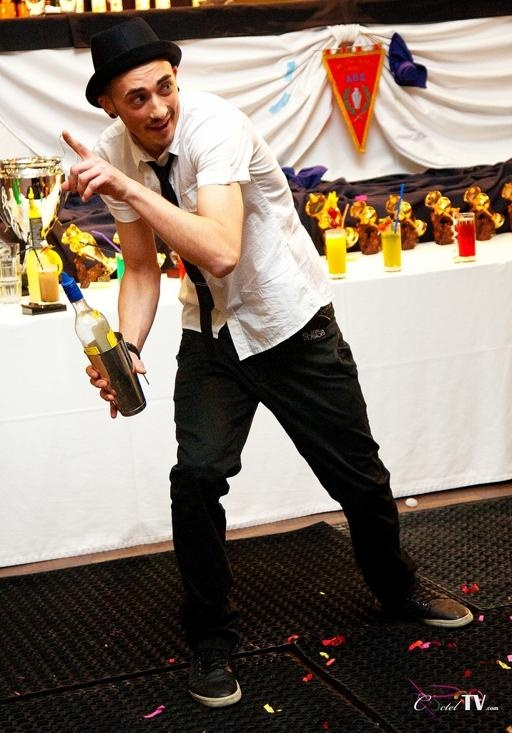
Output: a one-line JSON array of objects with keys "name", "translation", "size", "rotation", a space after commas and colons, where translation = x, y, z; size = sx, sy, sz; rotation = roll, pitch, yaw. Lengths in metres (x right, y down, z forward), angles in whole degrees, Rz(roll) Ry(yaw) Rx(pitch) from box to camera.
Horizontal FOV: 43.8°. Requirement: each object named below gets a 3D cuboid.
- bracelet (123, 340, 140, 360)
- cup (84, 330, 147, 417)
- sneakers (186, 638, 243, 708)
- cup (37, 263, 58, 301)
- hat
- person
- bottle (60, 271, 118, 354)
[{"name": "bracelet", "translation": [-0.220, -0.028, 1.136], "size": [0.018, 0.032, 0.024], "rotation": [-47, 22, -26]}, {"name": "cup", "translation": [-0.232, 0.017, 1.045], "size": [0.060, 0.142, 0.105], "rotation": [-6, 6, 4]}, {"name": "sneakers", "translation": [-0.071, 0.550, 1.144], "size": [0.065, 0.068, 0.160], "rotation": [0, -3, -7]}, {"name": "cup", "translation": [-0.592, -0.229, 1.822], "size": [0.053, 0.101, 0.060], "rotation": [-7, 6, -7]}, {"name": "hat", "translation": [-0.180, -0.430, 0.956], "size": [0.119, 0.068, 0.136], "rotation": [-28, 2, -2]}, {"name": "person", "translation": [-0.009, 0.028, 1.125], "size": [0.357, 1.150, 0.681], "rotation": [-2, 7, 40]}, {"name": "bottle", "translation": [-0.260, -0.080, 1.009], "size": [0.066, 0.123, 0.238], "rotation": [-8, 6, -12]}]
